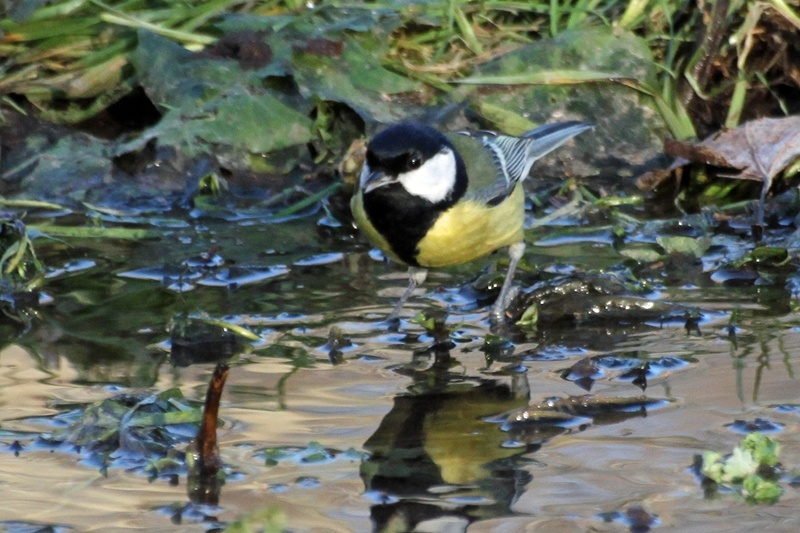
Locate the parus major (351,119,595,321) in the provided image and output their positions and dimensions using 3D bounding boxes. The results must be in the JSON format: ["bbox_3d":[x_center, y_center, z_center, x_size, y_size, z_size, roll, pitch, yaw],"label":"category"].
[{"bbox_3d":[0.244,-0.244,4.992,0.926,1.006,0.481,0,-1,-32],"label":"parus major"}]
